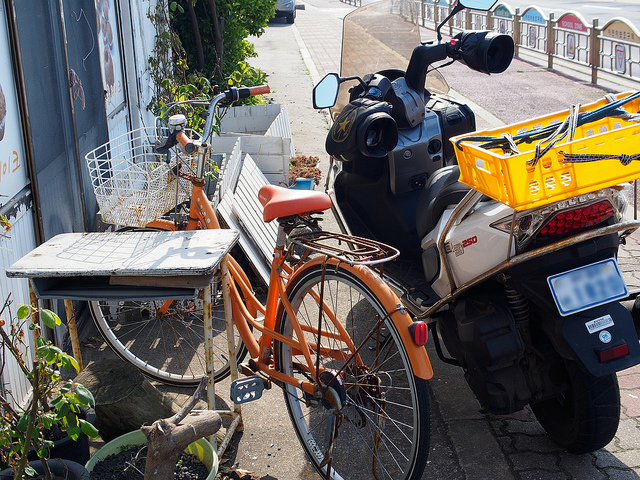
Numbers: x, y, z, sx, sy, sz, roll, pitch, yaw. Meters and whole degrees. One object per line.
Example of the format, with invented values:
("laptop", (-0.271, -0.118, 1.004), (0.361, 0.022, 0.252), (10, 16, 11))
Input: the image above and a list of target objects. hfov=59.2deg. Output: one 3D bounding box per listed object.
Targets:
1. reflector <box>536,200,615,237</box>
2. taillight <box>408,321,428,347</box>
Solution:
("reflector", (1.294, -0.098, 2.894), (0.442, 0.141, 0.094), (-14, -1, 15))
("taillight", (0.484, 0.471, 2.840), (0.102, 0.142, 0.052), (-6, 0, -23))
